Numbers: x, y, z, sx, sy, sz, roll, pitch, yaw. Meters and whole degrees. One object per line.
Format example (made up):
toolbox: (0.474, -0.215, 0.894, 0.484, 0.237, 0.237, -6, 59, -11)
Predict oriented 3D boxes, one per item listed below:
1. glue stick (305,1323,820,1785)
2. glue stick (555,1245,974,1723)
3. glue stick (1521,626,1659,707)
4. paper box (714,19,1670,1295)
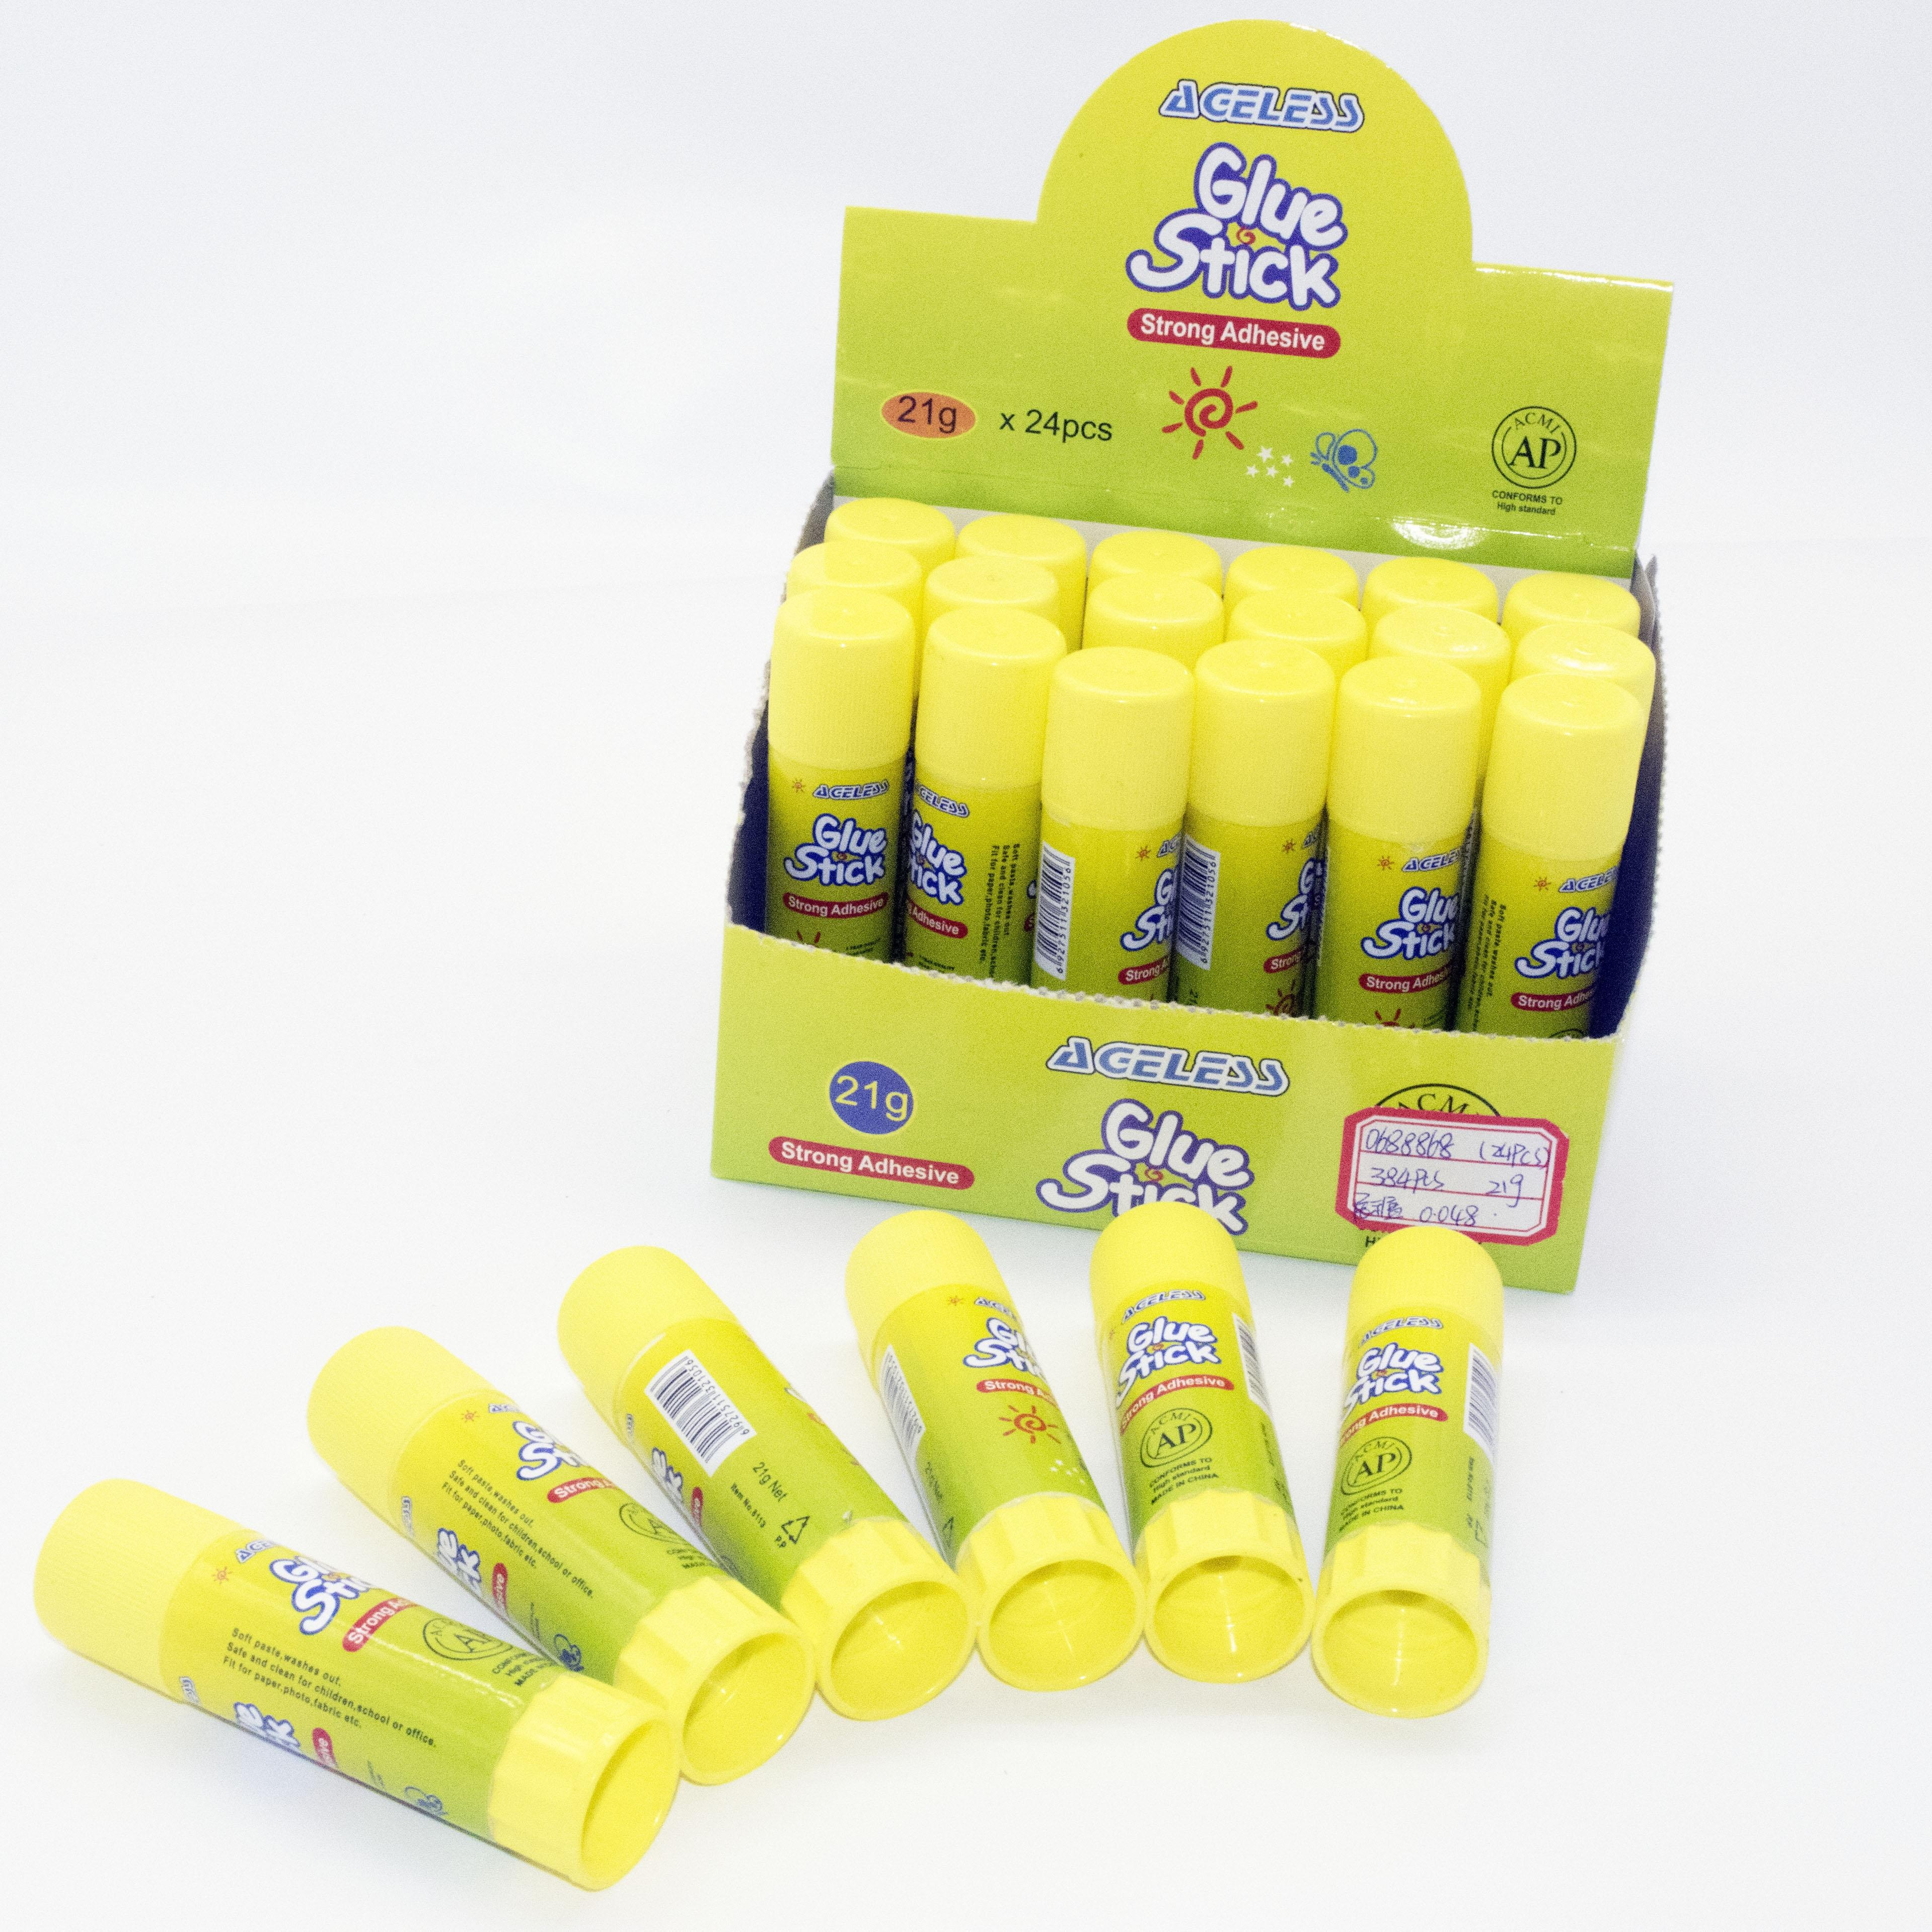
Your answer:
glue stick: (-0.188, 0.267, 0.929, 0.269, 0.080, 0.085, 26, 28, 34)
glue stick: (-0.114, 0.240, 1.007, 0.099, 0.091, 0.294, -5, 33, -32)
glue stick: (0.340, -0.173, 1.105, 0.063, 0.043, 0.062, 2, 34, -2)
paper box: (0.138, -0.184, 1.198, 0.545, 0.604, 0.356, 10, 53, 10)
